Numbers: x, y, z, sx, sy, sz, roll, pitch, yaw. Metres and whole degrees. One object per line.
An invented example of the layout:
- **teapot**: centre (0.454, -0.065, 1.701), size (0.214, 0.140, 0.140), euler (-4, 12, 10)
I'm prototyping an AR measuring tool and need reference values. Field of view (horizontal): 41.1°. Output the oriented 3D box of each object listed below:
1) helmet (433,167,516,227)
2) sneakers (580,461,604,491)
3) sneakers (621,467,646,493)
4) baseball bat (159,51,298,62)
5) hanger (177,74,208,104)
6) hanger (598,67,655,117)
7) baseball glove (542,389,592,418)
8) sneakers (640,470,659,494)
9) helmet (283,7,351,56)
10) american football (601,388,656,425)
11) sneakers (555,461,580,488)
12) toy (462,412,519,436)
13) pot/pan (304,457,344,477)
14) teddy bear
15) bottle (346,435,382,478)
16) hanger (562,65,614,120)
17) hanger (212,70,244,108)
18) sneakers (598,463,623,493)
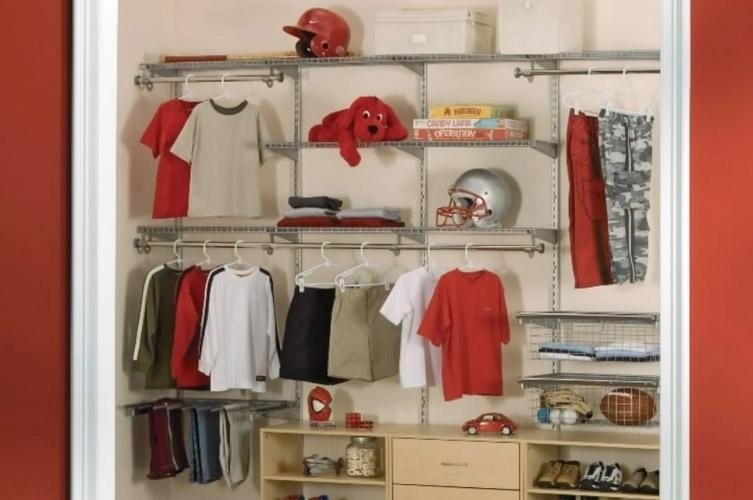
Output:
- **helmet**: centre (0.510, -0.282, 5.297), size (0.377, 0.274, 0.291), euler (-1, 4, -13)
- **sneakers**: centre (1.089, 1.158, 5.079), size (0.065, 0.078, 0.192), euler (1, 5, 17)
- **sneakers**: centre (1.301, 1.164, 5.049), size (0.065, 0.081, 0.202), euler (-10, -8, 25)
- **baseball bat**: centre (-0.828, -1.092, 5.662), size (0.757, 0.084, 0.110), euler (0, 9, 9)
- **hanger**: centre (-1.070, -0.931, 5.790), size (0.230, 0.151, 0.017), euler (1, 0, 10)
- **hanger**: centre (1.324, -0.826, 5.253), size (0.310, 0.229, 0.170), euler (2, -1, 19)
- **baseball glove**: centre (0.971, 0.779, 5.196), size (0.301, 0.143, 0.111), euler (5, 9, 27)
- **sneakers**: centre (1.364, 1.172, 5.033), size (0.092, 0.117, 0.237), euler (-6, -18, 18)
- **helmet**: centre (-0.332, -1.170, 5.463), size (0.336, 0.255, 0.239), euler (2, 4, -14)
- **american football**: centre (1.262, 0.787, 5.027), size (0.274, 0.194, 0.093), euler (-5, -17, 13)
- **sneakers**: centre (0.983, 1.157, 5.150), size (0.111, 0.159, 0.309), euler (-5, -18, 14)
- **toy**: centre (0.582, 0.909, 5.216), size (0.271, 0.141, 0.175), euler (-2, -17, 4)
- **pot/pan**: centre (-0.256, 1.179, 5.458), size (0.263, 0.131, 0.087), euler (0, -3, 9)
- **teddy bear**: centre (-0.080, -0.641, 5.368), size (0.335, 0.246, 0.498), euler (-12, 13, -27)
- **bottle**: centre (-0.074, 1.118, 5.395), size (0.193, 0.201, 0.207), euler (1, -5, -3)
- **hanger**: centre (1.107, -0.834, 5.327), size (0.318, 0.283, 0.268), euler (4, 11, 17)
- **hanger**: centre (-0.848, -0.923, 5.742), size (0.257, 0.254, 0.116), euler (1, 2, 2)
- **sneakers**: centre (1.175, 1.163, 5.060), size (0.067, 0.082, 0.205), euler (1, 4, 18)
